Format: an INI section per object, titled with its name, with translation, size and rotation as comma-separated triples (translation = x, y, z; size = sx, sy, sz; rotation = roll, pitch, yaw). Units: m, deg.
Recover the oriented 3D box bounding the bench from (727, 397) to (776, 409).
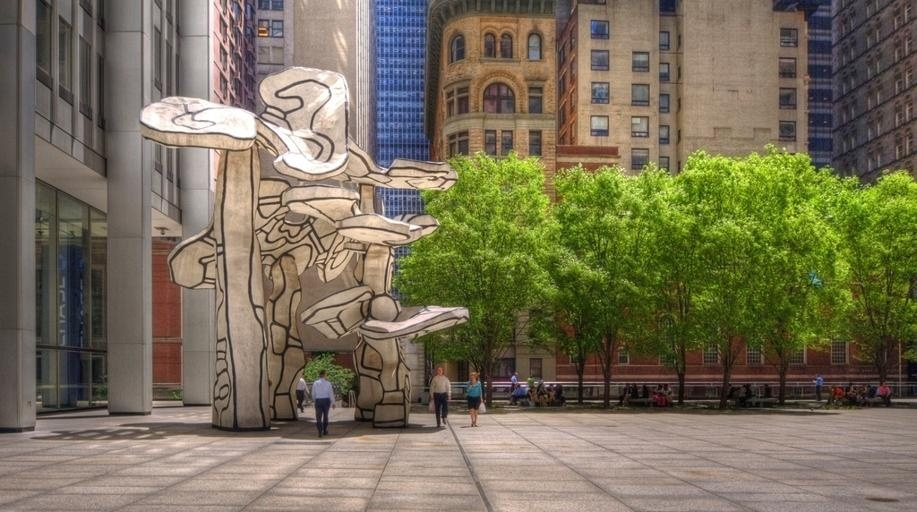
[bench]
translation = 21.900, 10.856, 88.367
size = 5.214, 0.918, 2.893
rotation = 8, -13, -43
